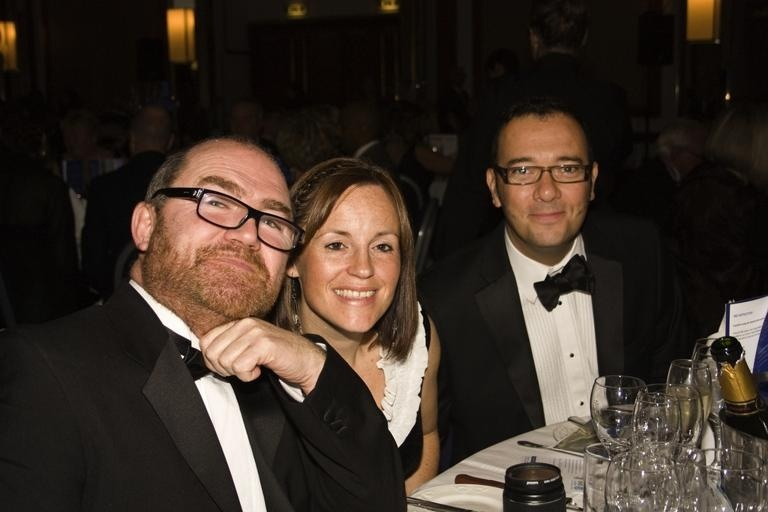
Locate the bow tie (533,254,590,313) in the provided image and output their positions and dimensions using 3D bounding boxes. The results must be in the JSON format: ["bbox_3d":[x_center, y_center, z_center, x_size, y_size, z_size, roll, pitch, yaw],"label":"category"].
[{"bbox_3d":[0.753,0.105,2.741,0.325,0.136,0.164,-22,32,-39],"label":"bow tie"}]

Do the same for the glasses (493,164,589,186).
[{"bbox_3d":[0.648,-0.334,2.702,0.368,0.085,0.069,0,3,9],"label":"glasses"}]

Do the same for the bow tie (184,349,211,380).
[{"bbox_3d":[-0.553,0.325,1.960,0.067,0.113,0.109,-1,3,-4],"label":"bow tie"}]
